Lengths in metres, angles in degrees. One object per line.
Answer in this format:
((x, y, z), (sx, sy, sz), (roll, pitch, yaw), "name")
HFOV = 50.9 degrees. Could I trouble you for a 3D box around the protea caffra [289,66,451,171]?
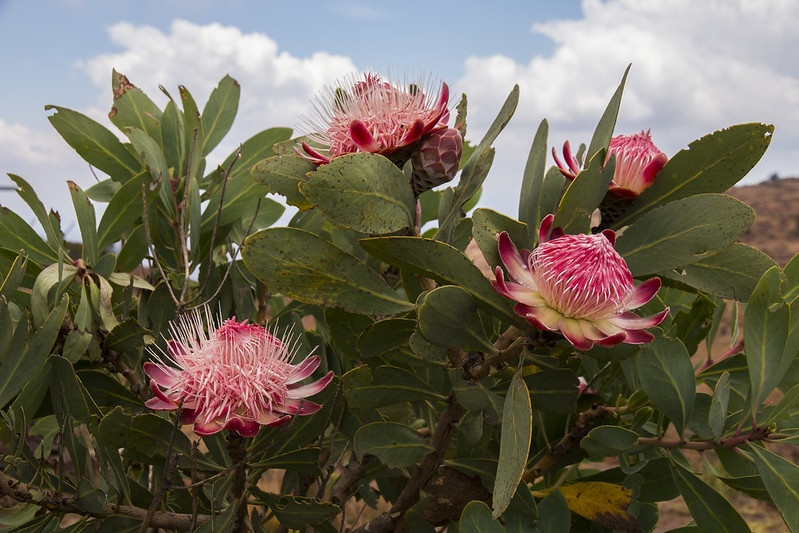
((-0.057, -0.678, 3.887), (0.569, 0.477, 0.605), (-10, 16, 37), "protea caffra")
